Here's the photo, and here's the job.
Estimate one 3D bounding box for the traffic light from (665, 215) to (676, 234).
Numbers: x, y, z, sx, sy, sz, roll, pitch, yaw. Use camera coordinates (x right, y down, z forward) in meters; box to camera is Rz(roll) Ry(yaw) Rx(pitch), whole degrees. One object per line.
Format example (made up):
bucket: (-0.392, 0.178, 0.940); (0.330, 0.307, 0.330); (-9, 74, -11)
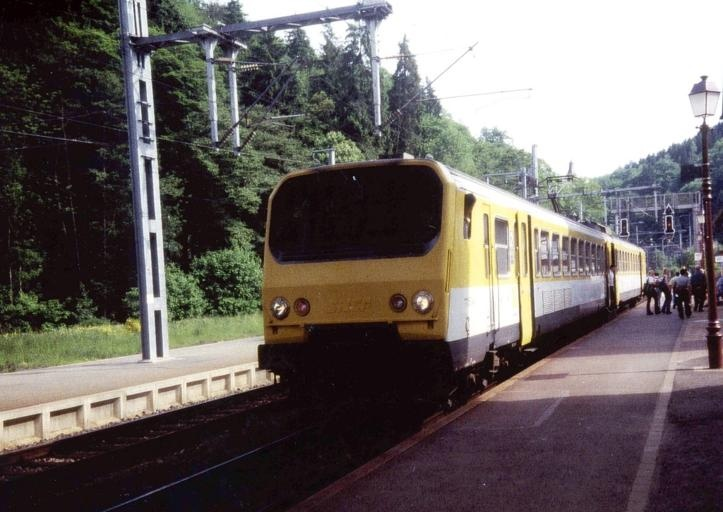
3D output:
traffic light: (23.480, -2.467, 49.820); (0.599, 1.408, 5.105); (-3, 0, 24)

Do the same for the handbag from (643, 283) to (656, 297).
handbag: (12.187, 1.367, 27.621); (0.381, 0.568, 0.576); (8, 2, 20)
